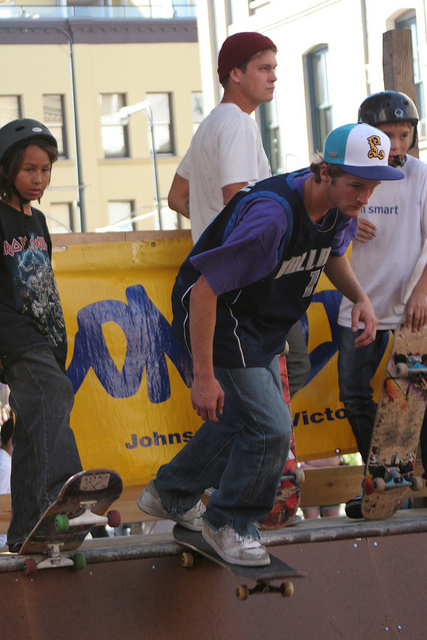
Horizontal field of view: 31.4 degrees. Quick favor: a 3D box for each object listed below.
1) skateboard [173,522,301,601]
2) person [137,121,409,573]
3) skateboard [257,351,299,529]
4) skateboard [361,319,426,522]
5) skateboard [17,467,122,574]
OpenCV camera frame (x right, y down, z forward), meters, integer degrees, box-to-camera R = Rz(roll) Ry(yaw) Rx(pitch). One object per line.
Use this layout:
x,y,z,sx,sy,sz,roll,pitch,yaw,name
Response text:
0.046,0.948,2.902,0.221,0.120,0.708,5,4,-32,skateboard
0.208,0.133,3.297,1.165,1.807,1.291,-8,8,-24,person
0.337,0.578,3.715,0.126,0.835,0.206,-4,0,-41,skateboard
0.886,0.562,3.998,0.296,1.124,0.165,12,-7,-33,skateboard
-0.521,0.721,2.810,0.233,0.118,0.585,11,-43,-27,skateboard
